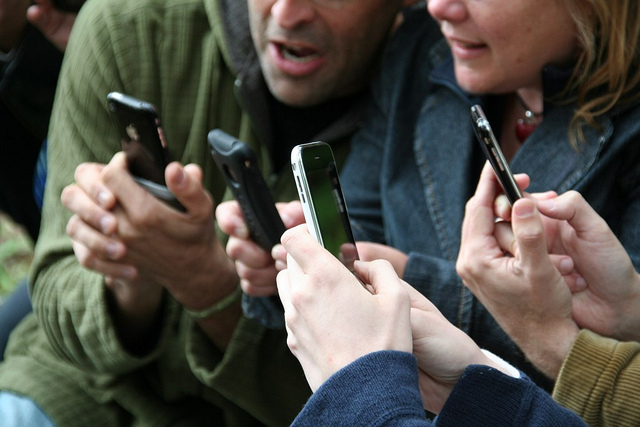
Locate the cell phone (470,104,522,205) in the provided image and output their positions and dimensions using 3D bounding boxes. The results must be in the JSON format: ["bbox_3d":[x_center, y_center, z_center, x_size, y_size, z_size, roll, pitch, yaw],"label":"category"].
[{"bbox_3d":[0.683,-0.218,2.671,0.028,0.324,0.198,-18,56,7],"label":"cell phone"}]
